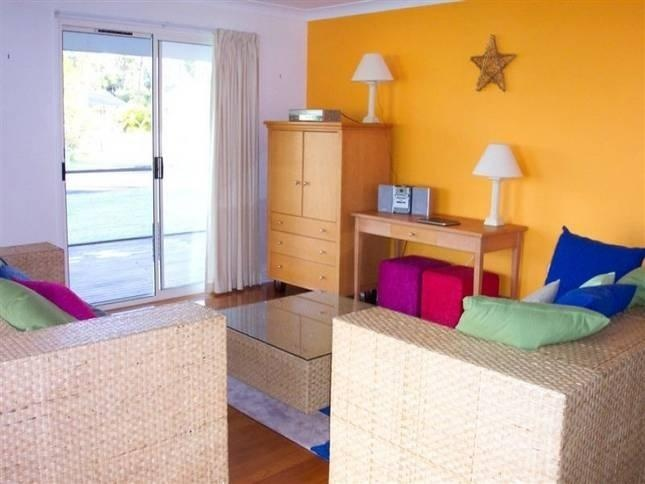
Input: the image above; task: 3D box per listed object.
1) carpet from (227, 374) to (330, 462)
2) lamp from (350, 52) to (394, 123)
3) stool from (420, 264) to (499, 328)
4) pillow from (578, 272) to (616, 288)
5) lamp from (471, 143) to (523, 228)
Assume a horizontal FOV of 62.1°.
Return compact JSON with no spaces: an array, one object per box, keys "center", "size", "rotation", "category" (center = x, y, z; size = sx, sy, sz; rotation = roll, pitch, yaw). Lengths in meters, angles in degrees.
[{"center":[-0.181,1.041,3.225],"size":[0.869,0.071,0.366],"rotation":[17,20,39],"category":"carpet"},{"center":[0.491,-1.470,5.155],"size":[0.379,0.639,0.412],"rotation":[7,16,12],"category":"lamp"},{"center":[1.119,0.398,4.365],"size":[0.483,0.516,0.490],"rotation":[7,-2,-33],"category":"stool"},{"center":[1.429,0.200,2.797],"size":[0.143,0.051,0.163],"rotation":[-14,6,-30],"category":"pillow"},{"center":[1.420,-0.463,4.334],"size":[0.351,0.642,0.447],"rotation":[11,18,26],"category":"lamp"}]
